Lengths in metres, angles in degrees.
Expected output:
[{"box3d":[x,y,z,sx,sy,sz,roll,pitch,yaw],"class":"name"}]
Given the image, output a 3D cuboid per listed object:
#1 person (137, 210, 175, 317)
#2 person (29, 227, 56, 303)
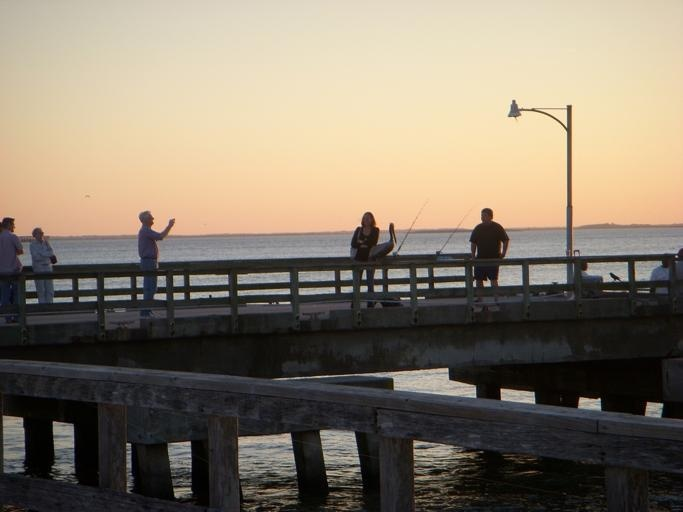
[{"box3d":[-3.118,0.164,27.026,0.582,1.752,0.970,-1,5,-23],"class":"person"},{"box3d":[-5.211,0.249,28.291,0.475,1.373,0.344,-8,3,-23],"class":"person"}]
